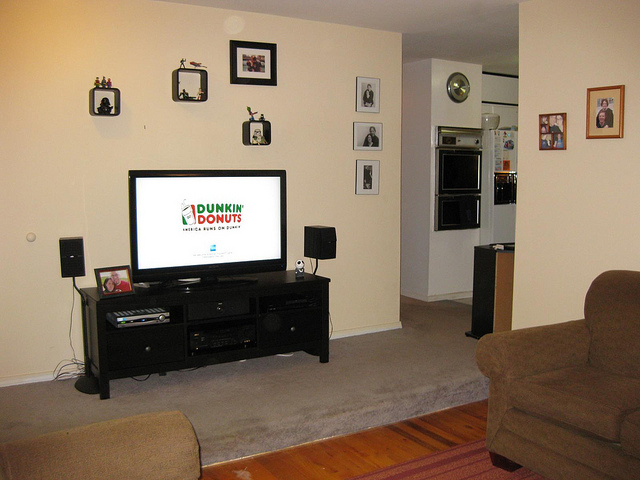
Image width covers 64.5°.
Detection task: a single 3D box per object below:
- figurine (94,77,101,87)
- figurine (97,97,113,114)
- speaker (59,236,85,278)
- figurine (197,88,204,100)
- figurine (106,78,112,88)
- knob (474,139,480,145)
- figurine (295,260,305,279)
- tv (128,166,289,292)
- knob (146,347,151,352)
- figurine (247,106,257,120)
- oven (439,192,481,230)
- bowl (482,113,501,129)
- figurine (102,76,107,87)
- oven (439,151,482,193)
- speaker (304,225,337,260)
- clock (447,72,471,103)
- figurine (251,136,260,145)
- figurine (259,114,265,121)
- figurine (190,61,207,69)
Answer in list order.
[{"bbox_3d":[-1.771,-1.263,4.051,0.042,0.083,0.088,-7,11,-25],"label":"figurine"},{"bbox_3d":[-1.711,-1.063,4.063,0.105,0.185,0.119,3,-2,-25],"label":"figurine"},{"bbox_3d":[-1.927,0.088,3.956,0.184,0.337,0.176,-1,35,-22],"label":"speaker"},{"bbox_3d":[-1.017,-1.256,4.351,0.055,0.095,0.039,-3,10,-5],"label":"figurine"},{"bbox_3d":[-1.693,-1.268,4.085,0.039,0.086,0.099,-6,10,-17],"label":"figurine"},{"bbox_3d":[2.055,-1.282,6.596,0.048,0.057,0.066,5,4,9],"label":"knob"},{"bbox_3d":[-0.176,0.254,4.443,0.079,0.127,0.200,-3,10,-1],"label":"figurine"},{"bbox_3d":[-0.955,-0.090,4.148,0.931,0.744,0.253,-3,5,-25],"label":"tv"},{"bbox_3d":[-1.284,0.821,3.786,0.026,0.028,0.009,-6,-25,-22],"label":"knob"},{"bbox_3d":[-0.620,-1.150,4.596,0.085,0.121,0.085,0,9,12],"label":"figurine"},{"bbox_3d":[1.941,-0.391,6.724,0.637,0.464,0.357,-1,7,26],"label":"oven"},{"bbox_3d":[2.333,-1.617,6.876,0.318,0.218,0.181,-12,14,-43],"label":"bowl"},{"bbox_3d":[-1.722,-1.270,4.069,0.034,0.087,0.075,-6,10,-19],"label":"figurine"},{"bbox_3d":[1.845,-0.888,6.714,0.620,0.576,0.355,-1,6,-6],"label":"oven"},{"bbox_3d":[-0.004,0.027,4.659,0.203,0.362,0.342,-7,11,-38],"label":"speaker"},{"bbox_3d":[1.798,-1.946,6.479,0.396,0.363,0.089,-10,12,-35],"label":"clock"},{"bbox_3d":[-0.579,-0.902,4.589,0.054,0.063,0.053,-3,12,-15],"label":"figurine"},{"bbox_3d":[-0.526,-1.119,4.631,0.040,0.061,0.091,-3,10,-3],"label":"figurine"},{"bbox_3d":[-1.036,-1.514,4.365,0.144,0.060,0.112,-6,11,-18],"label":"figurine"}]
